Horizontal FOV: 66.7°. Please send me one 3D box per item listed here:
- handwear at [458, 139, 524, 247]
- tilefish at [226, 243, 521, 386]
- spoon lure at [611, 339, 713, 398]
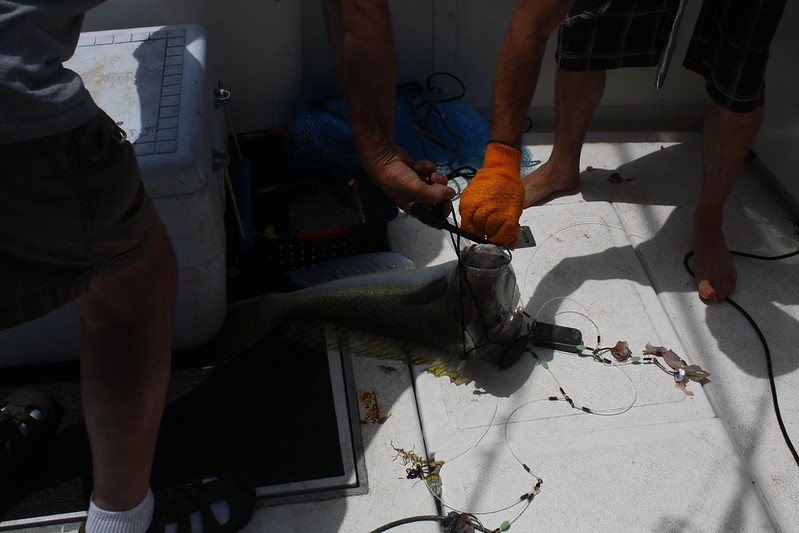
[{"bbox_3d":[0.335,-0.228,2.140,0.207,0.142,0.370,7,82,11],"label":"handwear"},{"bbox_3d":[-0.208,0.163,2.411,1.440,0.452,0.614,-4,76,0],"label":"tilefish"},{"bbox_3d":[0.960,0.359,2.245,0.278,0.095,0.184,31,58,17],"label":"spoon lure"}]
